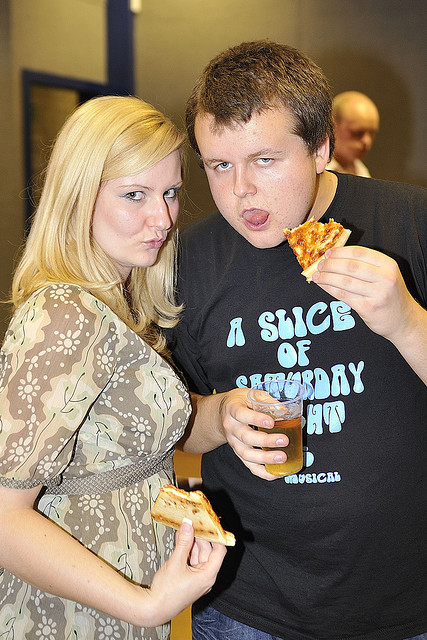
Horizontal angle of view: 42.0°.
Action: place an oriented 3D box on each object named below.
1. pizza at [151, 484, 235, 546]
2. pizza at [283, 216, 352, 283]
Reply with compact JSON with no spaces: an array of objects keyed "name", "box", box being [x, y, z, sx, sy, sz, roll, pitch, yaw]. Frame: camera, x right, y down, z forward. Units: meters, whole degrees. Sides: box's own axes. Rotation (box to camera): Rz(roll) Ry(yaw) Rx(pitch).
[{"name":"pizza","box":[-0.047,0.390,1.175,0.213,0.139,0.049,5,29,33]},{"name":"pizza","box":[0.242,-0.191,1.441,0.169,0.046,0.206,26,66,39]}]
